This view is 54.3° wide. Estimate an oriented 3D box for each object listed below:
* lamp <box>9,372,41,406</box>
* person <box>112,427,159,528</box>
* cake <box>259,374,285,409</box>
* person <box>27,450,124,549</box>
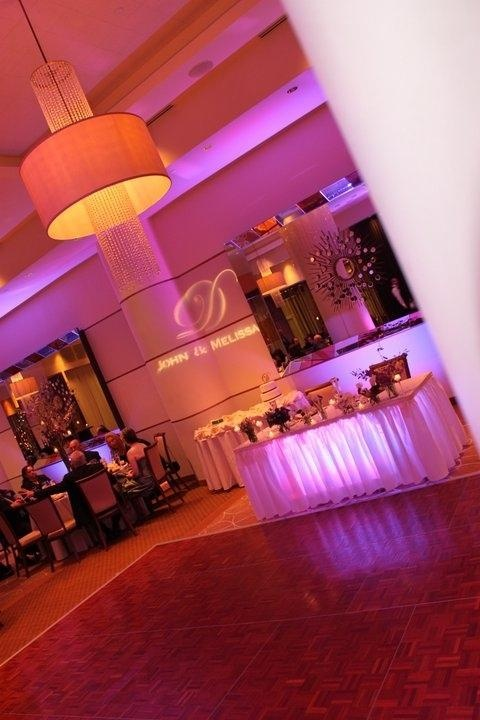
[{"bbox_3d":[-4.596,0.604,10.112,0.665,0.730,0.652,-8,-3,6],"label":"lamp"},{"bbox_3d":[-1.724,1.668,7.099,0.765,1.373,0.558,-10,18,-3],"label":"person"},{"bbox_3d":[0.397,0.402,6.308,0.394,0.500,0.387,-10,4,-3],"label":"cake"},{"bbox_3d":[-2.194,1.893,6.509,0.962,1.326,0.954,-28,-2,-15],"label":"person"}]
